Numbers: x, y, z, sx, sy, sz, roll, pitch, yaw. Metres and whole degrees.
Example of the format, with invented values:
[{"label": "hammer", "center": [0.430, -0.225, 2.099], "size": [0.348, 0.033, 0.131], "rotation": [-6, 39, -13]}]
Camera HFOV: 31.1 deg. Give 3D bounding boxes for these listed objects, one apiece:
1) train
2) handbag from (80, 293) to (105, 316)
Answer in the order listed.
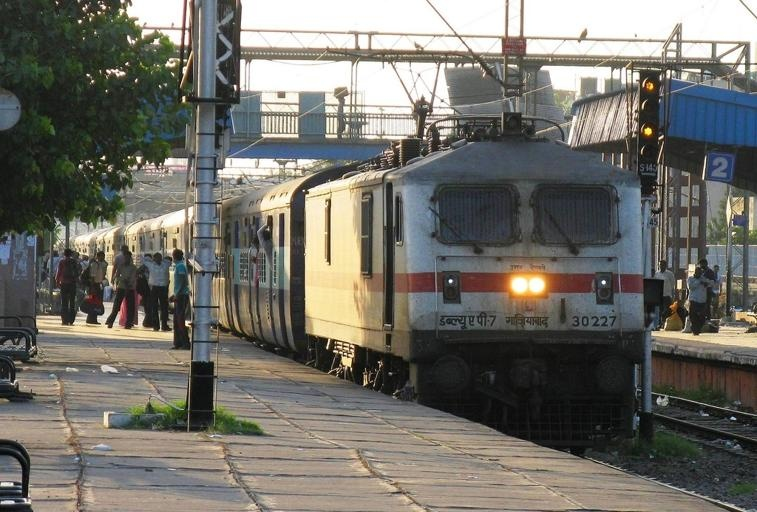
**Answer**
[{"label": "train", "center": [0.480, -0.047, 24.222], "size": [3.223, 5.202, 9.371], "rotation": [1, 7, -28]}, {"label": "handbag", "center": [-7.582, 1.268, 35.999], "size": [0.617, 0.799, 0.387], "rotation": [6, -18, -17]}]
